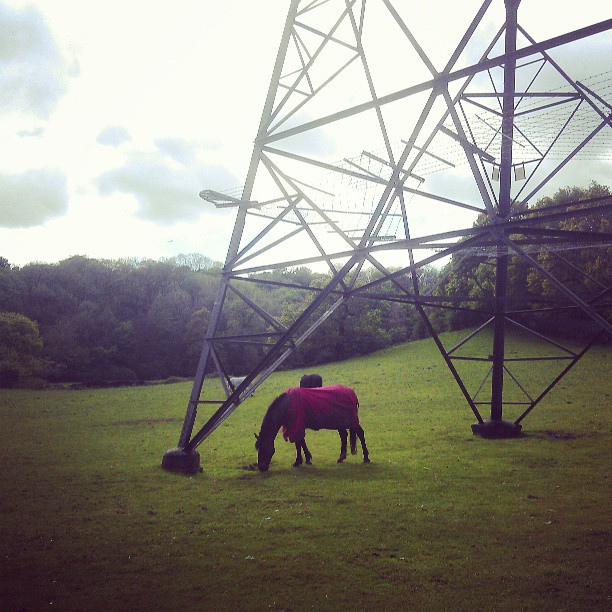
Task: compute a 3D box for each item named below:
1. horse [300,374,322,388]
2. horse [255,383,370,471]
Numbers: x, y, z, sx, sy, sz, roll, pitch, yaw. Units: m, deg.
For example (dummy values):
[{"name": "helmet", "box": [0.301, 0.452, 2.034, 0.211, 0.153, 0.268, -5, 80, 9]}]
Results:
[{"name": "horse", "box": [0.120, 1.768, 16.198, 0.322, 0.382, 0.327, 2, -3, -33]}, {"name": "horse", "box": [0.085, 2.646, 15.075, 2.375, 1.721, 0.767, -2, 1, -12]}]
